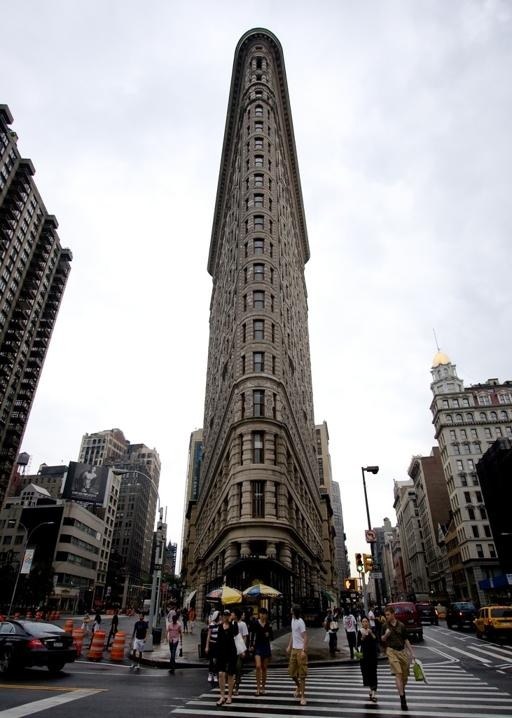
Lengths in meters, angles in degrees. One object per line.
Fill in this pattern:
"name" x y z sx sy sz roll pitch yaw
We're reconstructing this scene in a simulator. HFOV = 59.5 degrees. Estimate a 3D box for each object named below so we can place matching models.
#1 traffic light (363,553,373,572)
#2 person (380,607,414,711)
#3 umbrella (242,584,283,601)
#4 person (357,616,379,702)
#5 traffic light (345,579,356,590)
"traffic light" 5.125 9.376 20.541 0.382 0.725 0.833 -7 -29 11
"person" 2.676 5.560 8.434 0.500 1.590 1.976 -8 -30 14
"umbrella" 0.236 9.357 17.997 1.453 0.678 1.607 -11 -42 19
"person" 2.392 6.318 9.531 0.391 1.429 2.014 -6 -29 11
"traffic light" 4.279 10.107 20.123 0.392 0.569 0.440 -3 -25 12
